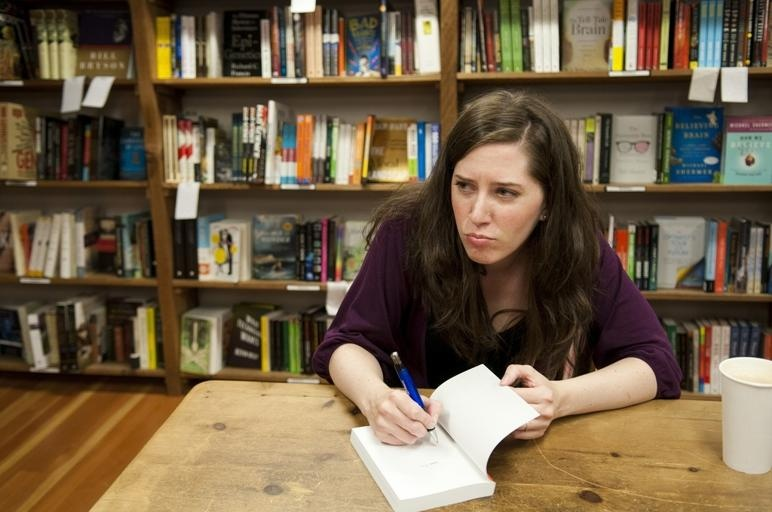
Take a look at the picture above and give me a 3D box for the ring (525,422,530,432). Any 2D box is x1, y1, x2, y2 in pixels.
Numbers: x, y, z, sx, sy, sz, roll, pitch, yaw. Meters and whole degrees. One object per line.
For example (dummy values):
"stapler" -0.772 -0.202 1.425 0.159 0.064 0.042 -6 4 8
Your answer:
"ring" 0.409 0.498 1.837 0.016 0.016 0.017 -2 21 1

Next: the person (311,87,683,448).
"person" 0.205 0.014 2.334 1.126 1.390 1.168 6 11 13
